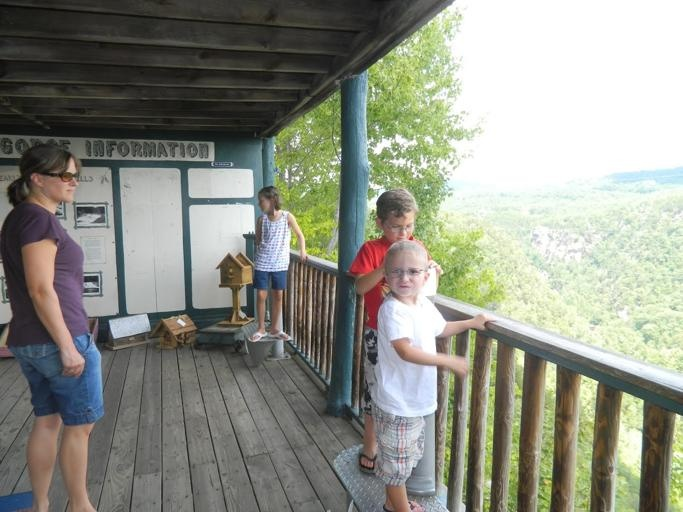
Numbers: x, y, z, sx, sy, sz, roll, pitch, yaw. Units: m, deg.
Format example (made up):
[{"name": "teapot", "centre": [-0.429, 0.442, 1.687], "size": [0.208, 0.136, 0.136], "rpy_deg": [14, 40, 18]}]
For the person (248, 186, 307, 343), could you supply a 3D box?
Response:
[{"name": "person", "centre": [-0.729, 0.099, 5.521], "size": [0.633, 1.704, 0.475], "rpy_deg": [-4, 12, -12]}]

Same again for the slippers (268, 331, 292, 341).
[{"name": "slippers", "centre": [-0.694, 0.853, 5.539], "size": [0.203, 0.084, 0.114], "rpy_deg": [3, 0, 6]}]

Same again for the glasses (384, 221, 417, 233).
[{"name": "glasses", "centre": [0.340, -0.162, 2.870], "size": [0.187, 0.073, 0.082], "rpy_deg": [-7, 14, -25]}]

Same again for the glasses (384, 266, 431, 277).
[{"name": "glasses", "centre": [0.313, 0.073, 2.520], "size": [0.197, 0.046, 0.060], "rpy_deg": [-1, 12, 3]}]

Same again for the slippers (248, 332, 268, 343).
[{"name": "slippers", "centre": [-0.891, 0.855, 5.468], "size": [0.233, 0.075, 0.172], "rpy_deg": [-8, 15, -29]}]
